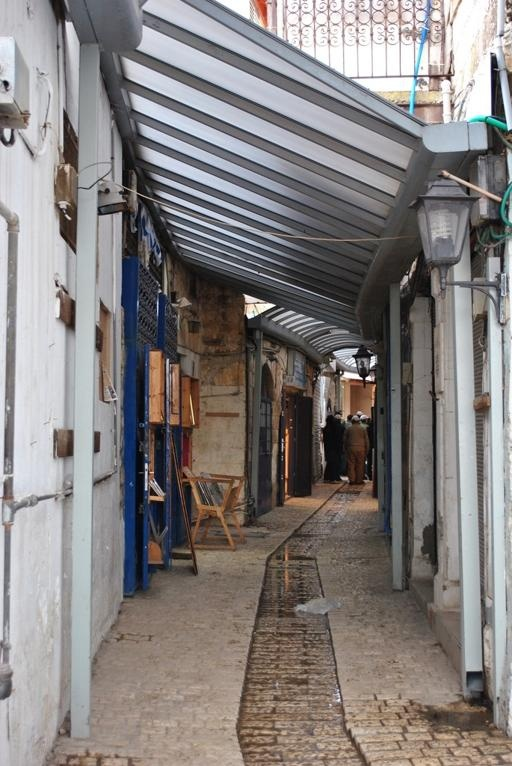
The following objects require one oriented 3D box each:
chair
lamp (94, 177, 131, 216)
[{"bbox_3d":[-0.570,1.624,9.044,0.744,1.491,0.927,-1,-2,10],"label":"chair"},{"bbox_3d":[-0.836,-1.104,3.980,0.166,0.212,0.276,1,-4,-16],"label":"lamp"}]
